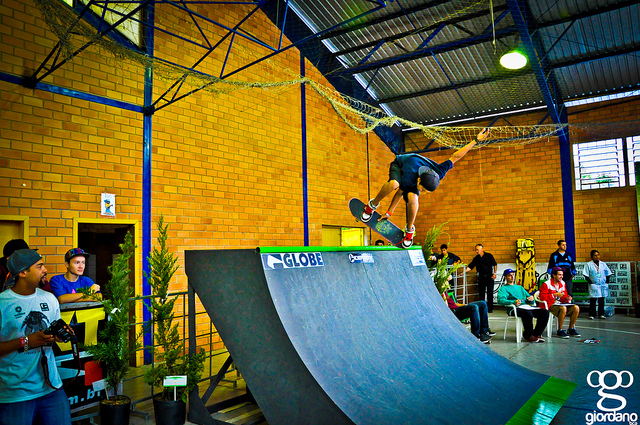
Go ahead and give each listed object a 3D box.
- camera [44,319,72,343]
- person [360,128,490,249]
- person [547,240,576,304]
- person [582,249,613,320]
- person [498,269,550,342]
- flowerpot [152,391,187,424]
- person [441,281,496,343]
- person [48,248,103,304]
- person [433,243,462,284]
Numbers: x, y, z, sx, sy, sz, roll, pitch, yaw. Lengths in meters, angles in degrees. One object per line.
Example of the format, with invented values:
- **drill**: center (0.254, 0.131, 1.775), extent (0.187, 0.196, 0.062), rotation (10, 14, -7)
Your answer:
- **camera**: center (-3.029, 1.371, 5.919), extent (0.287, 0.193, 0.300), rotation (36, -6, 16)
- **person**: center (1.698, -0.560, 8.302), extent (0.729, 2.272, 1.188), rotation (5, 31, -51)
- **person**: center (6.150, 1.615, 12.622), extent (0.683, 1.834, 0.477), rotation (-4, 6, 15)
- **person**: center (6.951, 1.809, 12.635), extent (0.669, 1.681, 0.397), rotation (-1, -8, -19)
- **person**: center (4.246, 2.056, 10.868), extent (1.079, 1.645, 1.186), rotation (9, -19, -24)
- **flowerpot**: center (-1.990, 2.620, 6.720), extent (0.350, 0.263, 0.314), rotation (-12, -17, 40)
- **person**: center (3.056, 1.999, 10.640), extent (1.064, 1.386, 0.555), rotation (-16, -13, 43)
- **person**: center (-3.586, 0.979, 7.404), extent (0.905, 0.883, 0.567), rotation (-2, -6, 35)
- **person**: center (3.470, 1.571, 13.755), extent (0.833, 1.432, 0.527), rotation (-5, 9, -16)
